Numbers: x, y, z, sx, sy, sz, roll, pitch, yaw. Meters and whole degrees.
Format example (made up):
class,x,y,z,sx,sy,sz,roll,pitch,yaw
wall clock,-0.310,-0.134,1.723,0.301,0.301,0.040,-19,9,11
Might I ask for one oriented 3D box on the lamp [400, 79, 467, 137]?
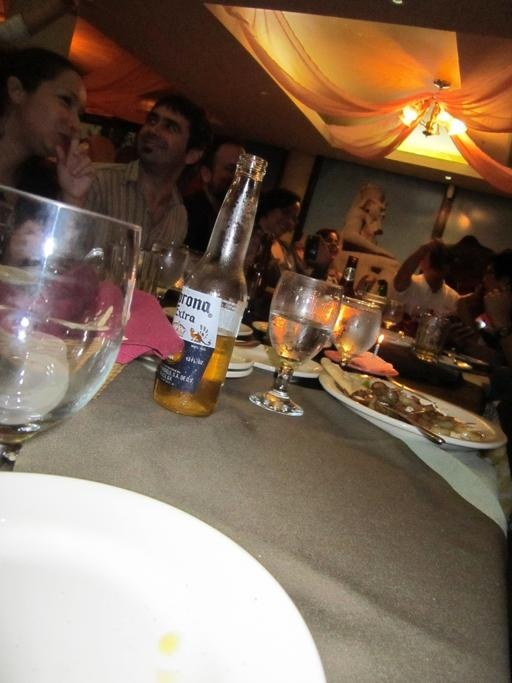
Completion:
class,x,y,z,sx,sy,sz,roll,pitch,yaw
lamp,1.608,-2.034,4.690,0.538,0.418,0.538,28,24,28
